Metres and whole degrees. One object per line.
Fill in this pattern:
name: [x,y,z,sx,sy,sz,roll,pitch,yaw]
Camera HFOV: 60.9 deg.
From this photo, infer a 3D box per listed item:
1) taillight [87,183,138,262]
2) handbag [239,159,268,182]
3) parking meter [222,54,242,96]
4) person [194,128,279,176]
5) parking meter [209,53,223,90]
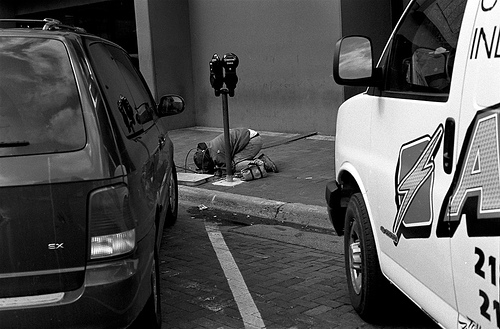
taillight: [-0.966,0.385,2.894,0.334,0.478,0.132,-7,11,-25]
handbag: [0.054,0.127,9.055,0.636,0.353,0.352,-8,12,-29]
parking meter: [-0.387,-1.772,8.462,0.316,0.784,0.374,-3,10,-3]
person: [-0.399,-0.308,9.524,1.615,0.954,0.952,2,6,10]
parking meter: [-0.702,-1.857,8.443,0.333,0.817,0.180,-11,17,-35]
